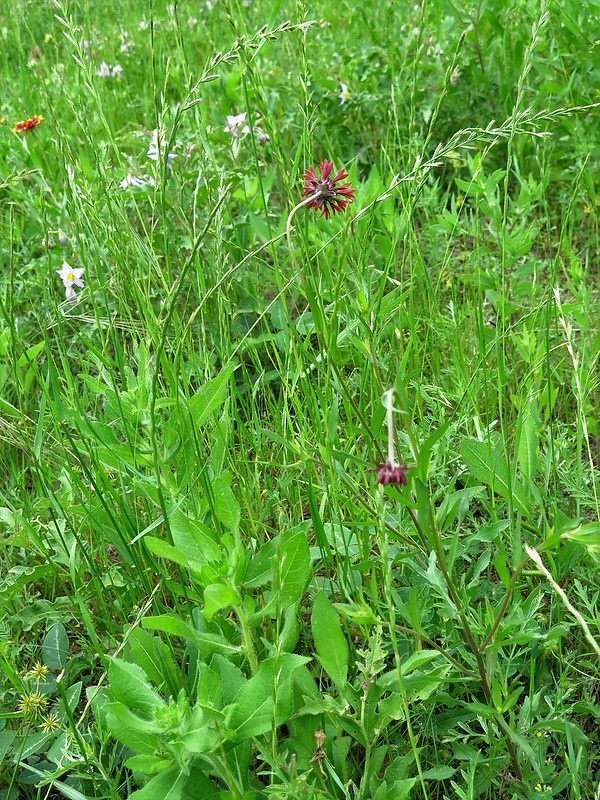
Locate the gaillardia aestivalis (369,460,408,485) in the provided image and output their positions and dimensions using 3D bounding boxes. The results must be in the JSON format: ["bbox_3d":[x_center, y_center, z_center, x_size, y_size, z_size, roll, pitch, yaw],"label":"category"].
[{"bbox_3d":[0.091,0.078,0.732,0.026,0.030,0.012,-5,5,1],"label":"gaillardia aestivalis"}]
